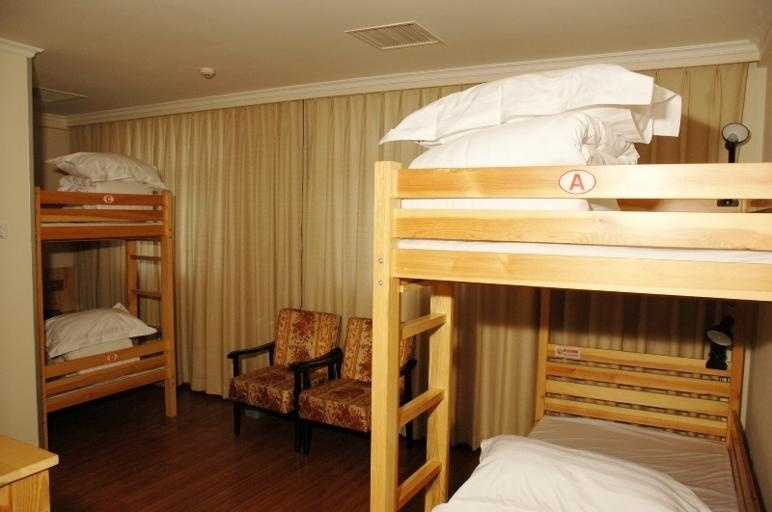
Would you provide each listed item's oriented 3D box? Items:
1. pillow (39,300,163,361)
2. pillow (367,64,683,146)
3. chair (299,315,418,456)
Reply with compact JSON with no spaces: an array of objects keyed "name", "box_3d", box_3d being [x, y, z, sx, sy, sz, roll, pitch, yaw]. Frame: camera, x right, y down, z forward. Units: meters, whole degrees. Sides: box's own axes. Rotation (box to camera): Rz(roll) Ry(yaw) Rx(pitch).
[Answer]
[{"name":"pillow","box_3d":[-2.719,0.704,5.257,0.615,0.142,0.582,-8,17,-38]},{"name":"pillow","box_3d":[0.880,-0.875,3.274,1.545,0.455,0.516,4,13,18]},{"name":"chair","box_3d":[-0.216,1.120,5.253,1.102,1.210,1.236,-1,-4,26]}]
